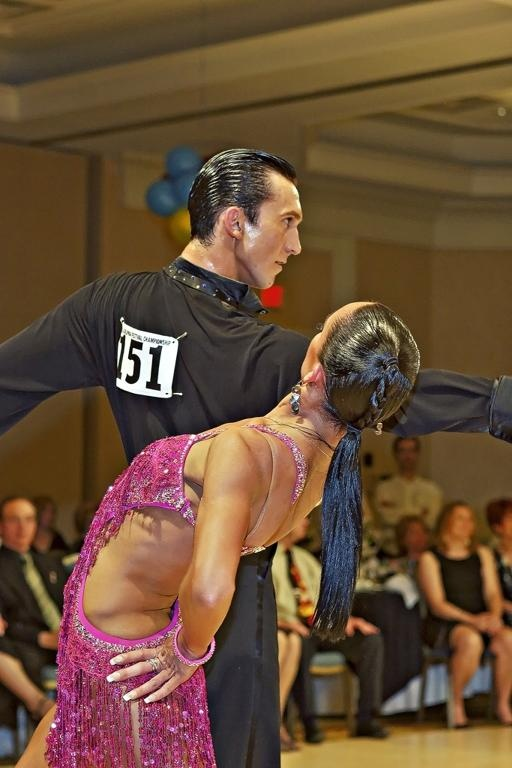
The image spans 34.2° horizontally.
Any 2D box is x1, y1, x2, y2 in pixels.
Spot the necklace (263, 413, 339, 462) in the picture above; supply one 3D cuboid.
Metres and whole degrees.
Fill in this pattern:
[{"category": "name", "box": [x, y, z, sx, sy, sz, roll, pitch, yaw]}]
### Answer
[{"category": "necklace", "box": [0.073, 0.078, 1.295, 0.102, 0.049, 0.069, 26, 2, 12]}]
